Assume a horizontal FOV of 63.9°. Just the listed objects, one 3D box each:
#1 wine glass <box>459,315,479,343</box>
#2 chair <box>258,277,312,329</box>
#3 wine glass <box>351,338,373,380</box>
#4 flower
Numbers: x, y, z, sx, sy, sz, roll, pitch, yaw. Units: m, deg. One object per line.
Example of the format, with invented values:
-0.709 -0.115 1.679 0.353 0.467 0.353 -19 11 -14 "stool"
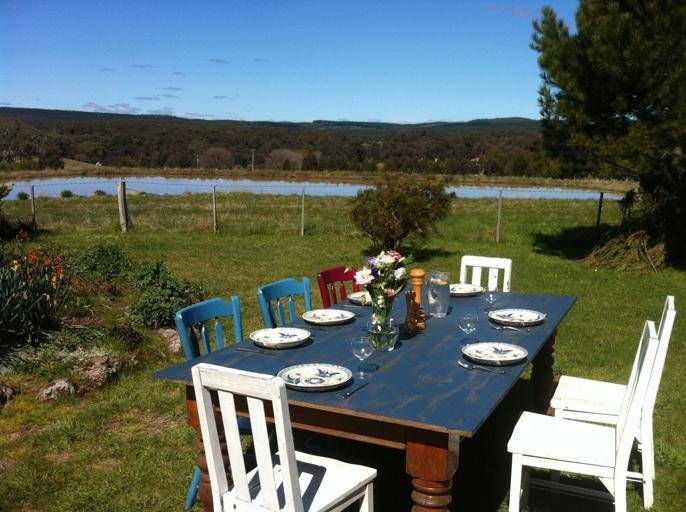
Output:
1.052 0.596 4.618 0.171 0.298 0.189 -3 3 -2 "wine glass"
-0.675 0.561 6.345 0.417 0.812 0.483 -15 25 -40 "chair"
0.135 0.757 4.019 0.169 0.366 0.194 2 10 21 "wine glass"
0.289 0.255 4.622 0.541 0.878 0.533 -1 5 -12 "flower"
